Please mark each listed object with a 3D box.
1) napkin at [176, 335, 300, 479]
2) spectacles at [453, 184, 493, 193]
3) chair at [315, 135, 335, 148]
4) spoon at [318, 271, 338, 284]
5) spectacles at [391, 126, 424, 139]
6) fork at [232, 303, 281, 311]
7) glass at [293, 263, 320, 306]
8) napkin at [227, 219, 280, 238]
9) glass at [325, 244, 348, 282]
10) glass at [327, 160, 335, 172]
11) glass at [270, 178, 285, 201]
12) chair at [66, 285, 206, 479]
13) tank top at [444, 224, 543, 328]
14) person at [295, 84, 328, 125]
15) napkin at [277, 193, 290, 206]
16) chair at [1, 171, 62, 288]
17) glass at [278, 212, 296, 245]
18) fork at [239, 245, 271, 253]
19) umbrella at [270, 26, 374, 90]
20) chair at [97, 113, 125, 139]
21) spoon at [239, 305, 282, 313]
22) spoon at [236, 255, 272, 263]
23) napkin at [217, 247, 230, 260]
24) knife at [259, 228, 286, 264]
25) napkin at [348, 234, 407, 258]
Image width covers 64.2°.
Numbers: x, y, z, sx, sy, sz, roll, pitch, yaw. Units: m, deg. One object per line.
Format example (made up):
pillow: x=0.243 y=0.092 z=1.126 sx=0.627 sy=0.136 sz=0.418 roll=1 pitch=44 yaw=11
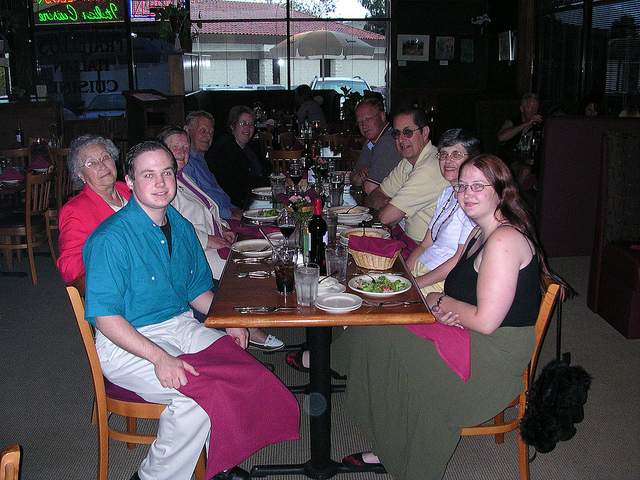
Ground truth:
napkin: x=-0.376 y=0.701 z=2.238 sx=0.487 sy=0.442 sz=0.320 roll=-10 pitch=14 yaw=-33
spectacles: x=0.662 y=-0.221 z=2.199 sx=0.144 sy=0.040 sz=0.038 roll=4 pitch=13 yaw=28
chair: x=0.067 y=-1.249 z=6.331 sx=0.197 sy=0.163 sz=0.210 roll=0 pitch=8 yaw=2
spoon: x=0.038 y=0.156 z=2.337 sx=0.119 sy=0.019 sz=0.020 roll=-31 pitch=62 yaw=-10
spectacles: x=0.570 y=-0.720 z=3.474 sx=0.145 sy=0.060 sz=0.046 roll=5 pitch=14 yaw=30
fork: x=-0.256 y=0.278 z=2.088 sx=0.189 sy=0.014 sz=0.051 roll=-3 pitch=12 yaw=-4
glass: x=-0.056 y=0.188 z=2.131 sx=0.145 sy=0.153 sz=0.154 roll=1 pitch=7 yaw=16
napkin: x=-0.362 y=-0.072 z=3.099 sx=0.239 sy=0.055 sz=0.186 roll=-6 pitch=8 yaw=-44
glass: x=0.067 y=0.101 z=2.369 sx=0.123 sy=0.164 sz=0.106 roll=2 pitch=12 yaw=18
glass: x=0.093 y=-0.669 z=4.652 sx=0.055 sy=0.100 sz=0.175 roll=-3 pitch=12 yaw=-3
glass: x=-0.303 y=-0.374 z=3.802 sx=0.152 sy=0.186 sz=0.162 roll=1 pitch=1 yaw=7
chair: x=-0.794 y=0.637 z=2.257 sx=0.580 sy=1.037 sz=0.583 roll=0 pitch=23 yaw=-10
tank top: x=0.735 y=0.117 z=2.395 sx=0.391 sy=0.580 sz=0.406 roll=3 pitch=5 yaw=5
person: x=-0.219 y=-2.206 z=8.463 sx=0.600 sy=0.749 sz=0.593 roll=3 pitch=11 yaw=15
napkin: x=-0.200 y=-0.222 z=2.842 sx=0.058 sy=0.076 sz=0.098 roll=-3 pitch=12 yaw=-5
chair: x=-2.895 y=-0.199 z=5.160 sx=0.598 sy=1.003 sz=1.552 roll=-8 pitch=13 yaw=-26
glass: x=-0.177 y=-0.063 z=2.743 sx=0.095 sy=0.159 sz=0.219 roll=-3 pitch=12 yaw=-4
fork: x=-0.348 y=0.049 z=2.721 sx=0.196 sy=0.033 sz=0.029 roll=0 pitch=22 yaw=-3
umbrella: x=0.040 y=-3.646 z=10.192 sx=1.013 sy=0.697 sz=0.980 roll=6 pitch=8 yaw=33
chair: x=-3.528 y=-1.904 z=8.657 sx=0.366 sy=0.387 sz=0.784 roll=-7 pitch=13 yaw=-21
spoon: x=-0.246 y=0.282 z=2.077 sx=0.125 sy=0.025 sz=0.018 roll=-2 pitch=4 yaw=-8
spoon: x=-0.333 y=0.100 z=2.594 sx=0.174 sy=0.017 sz=0.064 roll=-5 pitch=13 yaw=-14
napkin: x=-0.633 y=0.082 z=3.341 sx=0.074 sy=0.077 sz=0.104 roll=-5 pitch=12 yaw=-13
knife: x=-0.253 y=0.037 z=2.674 sx=0.030 sy=0.016 sz=0.304 roll=-28 pitch=45 yaw=-18
napkin: x=0.272 y=0.028 z=2.467 sx=0.272 sy=0.094 sz=0.145 roll=-1 pitch=12 yaw=4
